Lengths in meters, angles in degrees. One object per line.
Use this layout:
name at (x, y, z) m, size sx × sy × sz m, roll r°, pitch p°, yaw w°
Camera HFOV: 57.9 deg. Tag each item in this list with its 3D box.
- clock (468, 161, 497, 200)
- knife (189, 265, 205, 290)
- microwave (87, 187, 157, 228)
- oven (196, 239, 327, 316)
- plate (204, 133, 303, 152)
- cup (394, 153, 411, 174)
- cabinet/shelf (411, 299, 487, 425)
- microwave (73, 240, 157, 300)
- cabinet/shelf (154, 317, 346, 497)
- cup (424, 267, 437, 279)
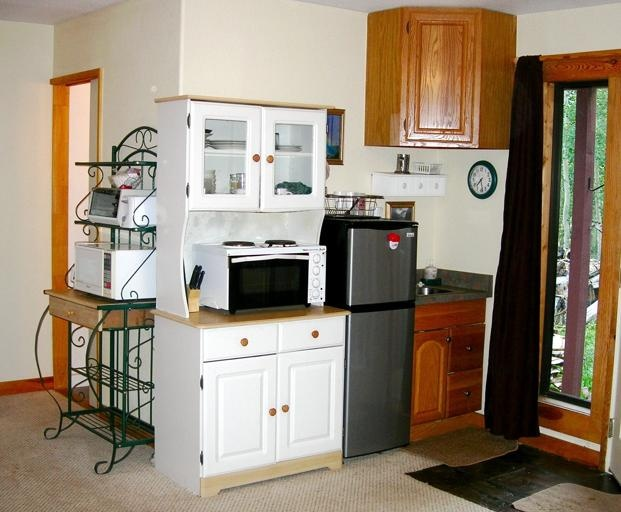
clock at (1.328, -0.589, 4.333) m, size 0.054 × 0.331 × 0.301 m, roll 1°, pitch 1°, yaw -31°
knife at (-0.682, 0.131, 3.318) m, size 0.076 × 0.138 × 0.037 m, roll 19°, pitch -4°, yaw 12°
microwave at (-1.195, -0.298, 3.578) m, size 0.402 × 0.221 × 0.297 m, roll 5°, pitch 3°, yaw 30°
oven at (-0.289, 0.131, 3.432) m, size 0.765 × 0.390 × 0.328 m, roll 0°, pitch 4°, yaw -23°
plate at (-0.318, -0.665, 3.275) m, size 0.630 × 0.127 × 0.032 m, roll -1°, pitch 5°, yaw -33°
cup at (0.700, -0.700, 4.280) m, size 0.139 × 0.157 × 0.143 m, roll 1°, pitch 3°, yaw 0°
cabinet/shelf at (0.906, 0.778, 4.251) m, size 0.868 × 0.888 × 0.420 m, roll 1°, pitch 4°, yaw -41°
microwave at (-1.275, 0.092, 3.640) m, size 0.594 × 0.306 × 0.325 m, roll 6°, pitch 4°, yaw 44°
cabinet/shelf at (-0.340, 0.860, 3.476) m, size 0.995 × 1.013 × 0.589 m, roll 1°, pitch -1°, yaw -37°
cup at (0.964, 0.143, 4.543) m, size 0.089 × 0.100 × 0.067 m, roll 1°, pitch 4°, yaw -5°
